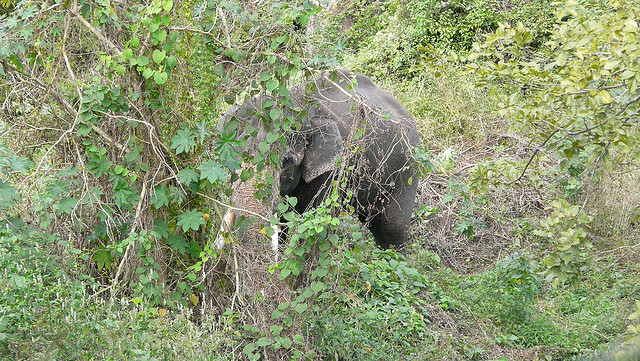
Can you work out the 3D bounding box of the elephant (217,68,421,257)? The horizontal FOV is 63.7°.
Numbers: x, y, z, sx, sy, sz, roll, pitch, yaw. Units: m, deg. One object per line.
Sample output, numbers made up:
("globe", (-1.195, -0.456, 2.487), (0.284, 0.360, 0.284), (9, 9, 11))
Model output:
("elephant", (0.115, -0.175, 5.936), (1.460, 2.281, 2.708), (13, 8, 40))
